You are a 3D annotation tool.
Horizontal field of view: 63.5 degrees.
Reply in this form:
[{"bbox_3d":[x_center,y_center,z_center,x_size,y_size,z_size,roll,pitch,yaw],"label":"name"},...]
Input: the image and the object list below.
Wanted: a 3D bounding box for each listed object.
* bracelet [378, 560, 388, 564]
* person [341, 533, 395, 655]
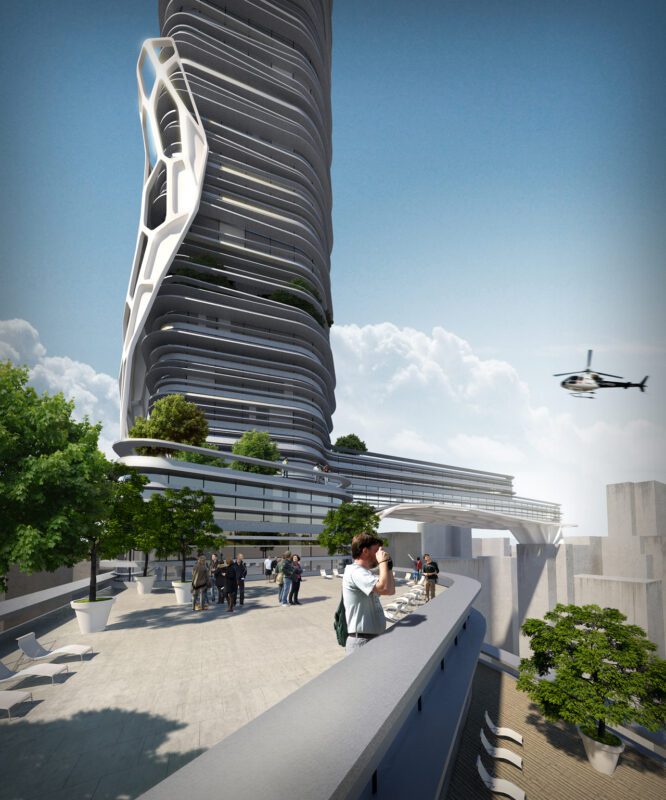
[{"bbox_3d":[0.456,1.446,4.818,0.064,0.027,0.145,2,-9,-8],"label":"bracelet"},{"bbox_3d":[0.314,1.774,4.884,0.441,1.055,0.935,1,-9,-2],"label":"person"}]
